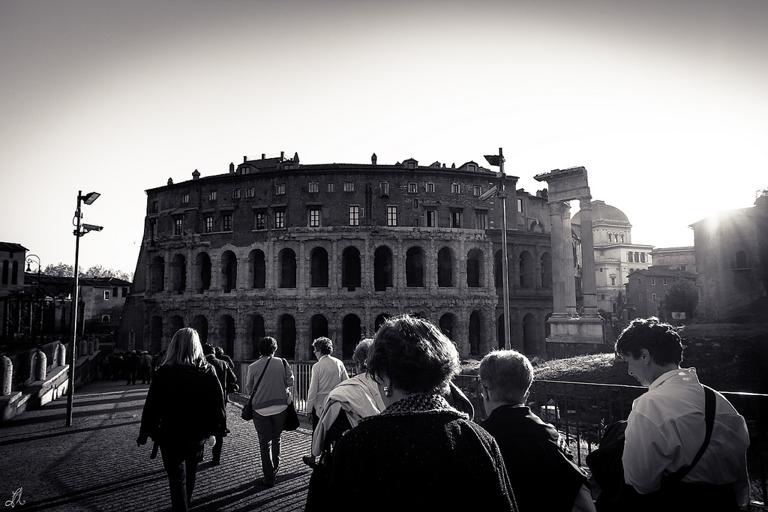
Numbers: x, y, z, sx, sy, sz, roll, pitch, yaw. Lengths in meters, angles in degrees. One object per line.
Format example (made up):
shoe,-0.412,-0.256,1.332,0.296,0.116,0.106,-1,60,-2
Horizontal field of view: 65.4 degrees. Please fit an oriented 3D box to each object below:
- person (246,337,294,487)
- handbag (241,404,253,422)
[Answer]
person,-2.456,3.328,12.874,0.978,3.100,0.475,1,-5,-13
handbag,-2.880,3.304,12.646,0.219,0.299,0.383,1,-5,-13
